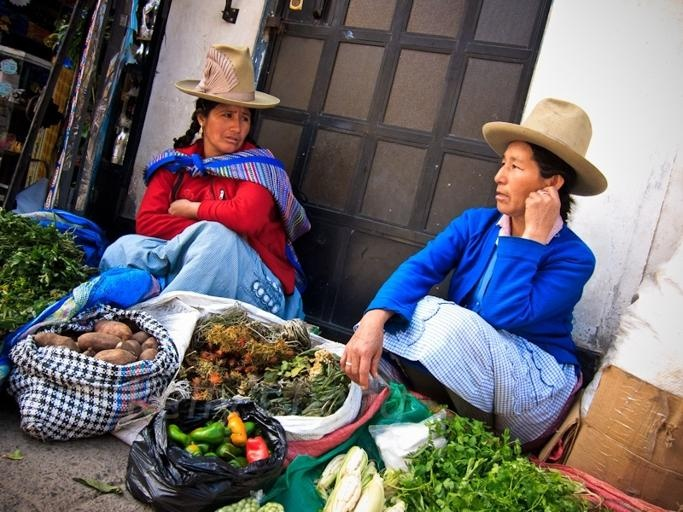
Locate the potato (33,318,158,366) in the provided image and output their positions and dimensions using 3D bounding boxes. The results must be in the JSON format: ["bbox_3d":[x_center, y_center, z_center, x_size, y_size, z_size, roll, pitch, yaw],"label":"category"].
[{"bbox_3d":[-1.284,0.415,2.566,0.572,0.183,0.507,-8,15,-38],"label":"potato"}]

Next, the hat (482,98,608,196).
[{"bbox_3d":[1.199,-0.719,2.812,0.647,0.375,0.691,15,8,-43],"label":"hat"}]

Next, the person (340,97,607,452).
[{"bbox_3d":[0.878,0.011,2.739,1.321,1.783,0.650,15,8,-9],"label":"person"}]

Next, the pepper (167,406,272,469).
[{"bbox_3d":[-0.545,0.816,2.206,0.441,0.123,0.296,13,10,-34],"label":"pepper"}]

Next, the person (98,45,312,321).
[{"bbox_3d":[-0.794,-0.570,3.461,1.373,1.766,0.967,16,8,-2],"label":"person"}]
